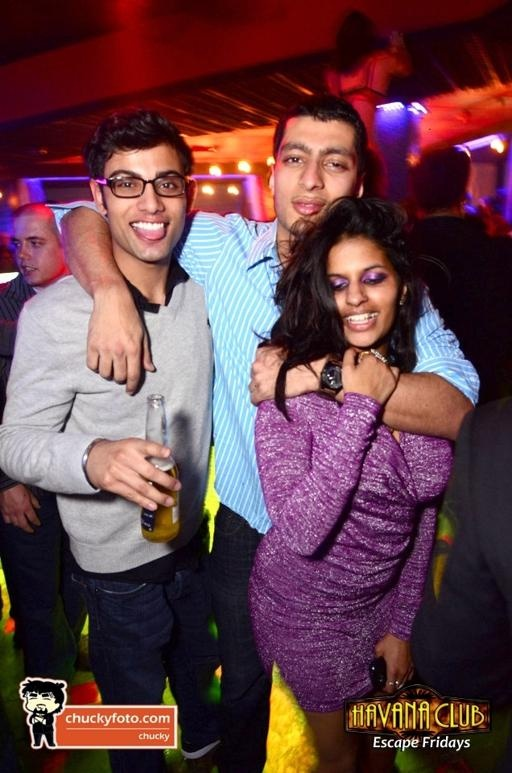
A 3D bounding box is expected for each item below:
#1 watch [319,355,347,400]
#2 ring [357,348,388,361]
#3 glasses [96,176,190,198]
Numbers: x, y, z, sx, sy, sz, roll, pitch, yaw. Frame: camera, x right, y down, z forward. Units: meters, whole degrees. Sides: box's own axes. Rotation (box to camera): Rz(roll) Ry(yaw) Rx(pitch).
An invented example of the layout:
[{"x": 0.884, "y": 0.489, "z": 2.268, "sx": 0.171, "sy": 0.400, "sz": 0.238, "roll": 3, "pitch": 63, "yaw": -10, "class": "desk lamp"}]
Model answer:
[{"x": 0.183, "y": -0.015, "z": 1.393, "sx": 0.068, "sy": 0.081, "sz": 0.081, "roll": 7, "pitch": -4, "yaw": 6, "class": "watch"}, {"x": 0.286, "y": -0.079, "z": 1.447, "sx": 0.031, "sy": 0.014, "sz": 0.037, "roll": 18, "pitch": 22, "yaw": -41, "class": "ring"}, {"x": -0.306, "y": -0.554, "z": 1.624, "sx": 0.218, "sy": 0.069, "sz": 0.078, "roll": -7, "pitch": 22, "yaw": -10, "class": "glasses"}]
